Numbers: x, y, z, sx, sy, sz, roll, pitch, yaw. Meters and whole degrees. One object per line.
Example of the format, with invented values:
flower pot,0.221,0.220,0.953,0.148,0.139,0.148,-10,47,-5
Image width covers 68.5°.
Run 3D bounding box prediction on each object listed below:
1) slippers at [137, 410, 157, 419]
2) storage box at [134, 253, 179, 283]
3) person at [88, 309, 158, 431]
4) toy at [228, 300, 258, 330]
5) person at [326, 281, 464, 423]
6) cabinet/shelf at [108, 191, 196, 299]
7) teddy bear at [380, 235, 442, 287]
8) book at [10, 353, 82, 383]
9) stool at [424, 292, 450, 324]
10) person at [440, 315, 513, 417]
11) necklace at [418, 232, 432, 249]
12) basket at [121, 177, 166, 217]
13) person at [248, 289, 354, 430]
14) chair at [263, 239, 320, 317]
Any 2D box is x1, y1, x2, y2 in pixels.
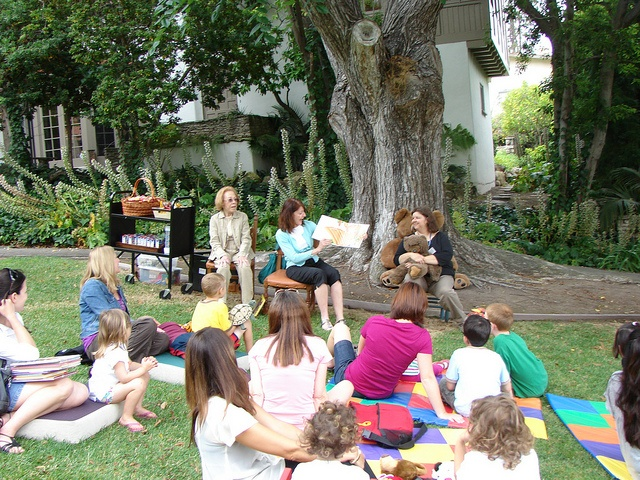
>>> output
slippers,-1.546,1.568,4.224,0.163,0.039,0.071,1,7,-9
storage box,-2.834,0.516,8.237,0.803,0.521,0.506,1,0,24
person,-1.758,1.121,4.143,0.570,1.040,0.208,1,4,9
toy,-0.887,0.786,5.329,0.300,0.371,0.124,-22,-33,-5
person,0.657,0.959,4.640,1.094,0.889,1.288,1,13,-6
cabinet/shelf,-2.795,0.126,7.851,1.967,2.072,0.987,4,6,32
teddy bear,1.239,0.340,6.738,0.943,0.812,0.663,-2,-1,38
book,-2.263,1.067,3.901,0.514,0.205,0.148,0,3,-20
stool,1.669,0.953,6.660,0.132,0.319,0.467,1,15,-28
person,1.416,1.153,4.242,0.686,0.869,0.669,-6,19,3
necklace,1.505,0.010,6.673,0.153,0.195,0.085,0,-11,-8
basket,-3.006,-0.721,8.109,0.693,0.598,0.687,2,5,21
person,-0.148,1.029,4.043,0.886,0.980,0.625,6,24,6
chair,-0.472,0.546,6.534,0.890,1.253,0.852,1,2,9
